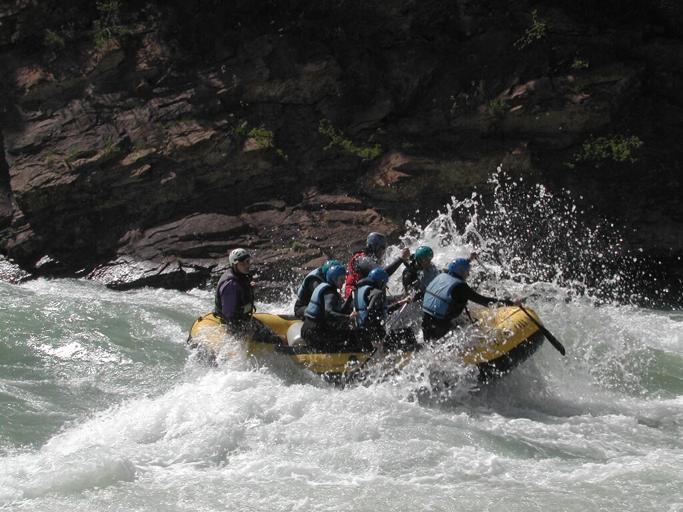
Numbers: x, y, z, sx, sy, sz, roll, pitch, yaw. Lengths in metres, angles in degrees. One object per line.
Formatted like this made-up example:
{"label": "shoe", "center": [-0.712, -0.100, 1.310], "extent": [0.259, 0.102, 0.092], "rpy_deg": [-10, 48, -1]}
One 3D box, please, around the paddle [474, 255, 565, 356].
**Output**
{"label": "paddle", "center": [3.548, 1.031, 20.211], "extent": [2.610, 0.231, 0.285], "rpy_deg": [44, 41, 5]}

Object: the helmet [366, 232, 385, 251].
{"label": "helmet", "center": [0.685, -0.287, 19.988], "extent": [0.293, 0.329, 0.358], "rpy_deg": [6, 10, -30]}

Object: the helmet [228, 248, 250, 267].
{"label": "helmet", "center": [-1.970, 0.014, 19.400], "extent": [0.454, 0.318, 0.311], "rpy_deg": [-4, 0, -5]}

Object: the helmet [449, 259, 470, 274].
{"label": "helmet", "center": [2.157, 0.166, 18.702], "extent": [0.339, 0.297, 0.250], "rpy_deg": [-19, 13, -14]}

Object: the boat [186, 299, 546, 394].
{"label": "boat", "center": [0.780, 1.719, 19.013], "extent": [5.167, 0.981, 2.432], "rpy_deg": [-4, 5, 7]}

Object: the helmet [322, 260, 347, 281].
{"label": "helmet", "center": [-0.166, 0.251, 19.284], "extent": [0.451, 0.402, 0.333], "rpy_deg": [-23, 13, 6]}

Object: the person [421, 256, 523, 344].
{"label": "person", "center": [2.439, 0.885, 19.392], "extent": [0.855, 1.368, 0.993], "rpy_deg": [-13, 46, -28]}
